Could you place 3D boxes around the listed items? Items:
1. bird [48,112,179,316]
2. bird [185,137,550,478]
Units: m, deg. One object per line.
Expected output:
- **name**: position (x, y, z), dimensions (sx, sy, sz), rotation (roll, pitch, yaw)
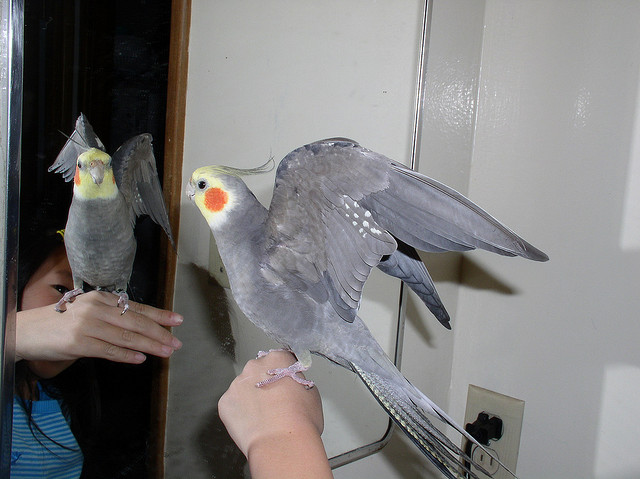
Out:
- **bird**: position (-0.326, -0.042, 1.050), dimensions (0.286, 0.389, 0.266), rotation (6, 11, -5)
- **bird**: position (0.036, -0.001, 1.134), dimensions (0.663, 0.486, 0.454), rotation (17, 26, 12)
